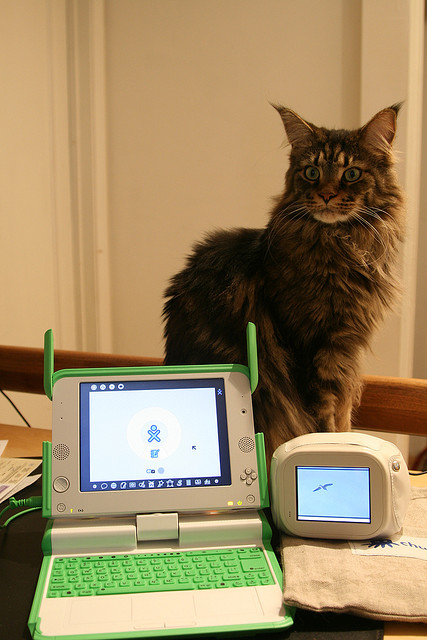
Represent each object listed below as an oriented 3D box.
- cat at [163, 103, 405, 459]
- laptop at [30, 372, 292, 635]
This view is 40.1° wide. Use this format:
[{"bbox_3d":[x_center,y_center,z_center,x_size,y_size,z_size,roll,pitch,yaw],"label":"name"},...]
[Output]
[{"bbox_3d":[0.129,-0.037,1.112,0.464,0.668,0.263,1,25,18],"label":"cat"},{"bbox_3d":[-0.060,0.152,0.646,0.238,0.168,0.236,-2,15,-4],"label":"laptop"}]
